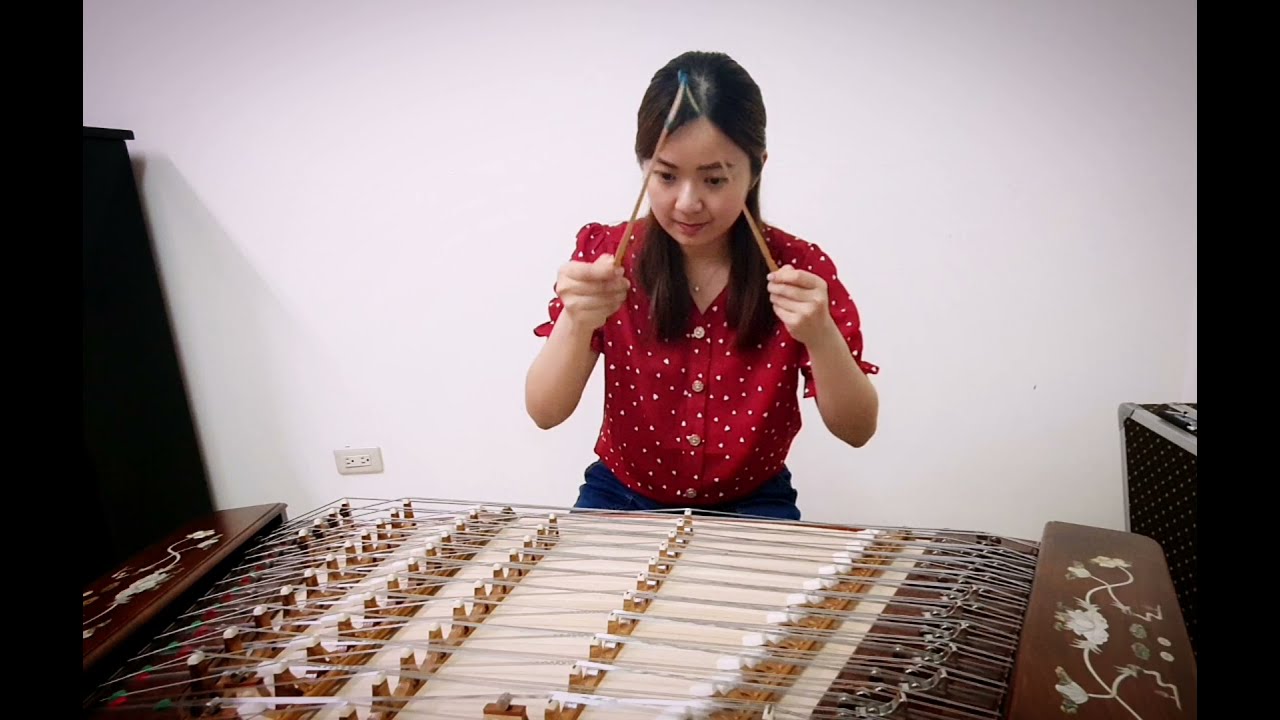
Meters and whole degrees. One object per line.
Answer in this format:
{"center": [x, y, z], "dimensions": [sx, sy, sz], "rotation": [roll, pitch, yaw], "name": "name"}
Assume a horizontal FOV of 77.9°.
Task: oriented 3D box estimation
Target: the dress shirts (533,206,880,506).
{"center": [0.271, -0.040, 2.604], "dimensions": [1.210, 0.950, 0.647], "rotation": [6, 20, 24], "name": "dress shirts"}
